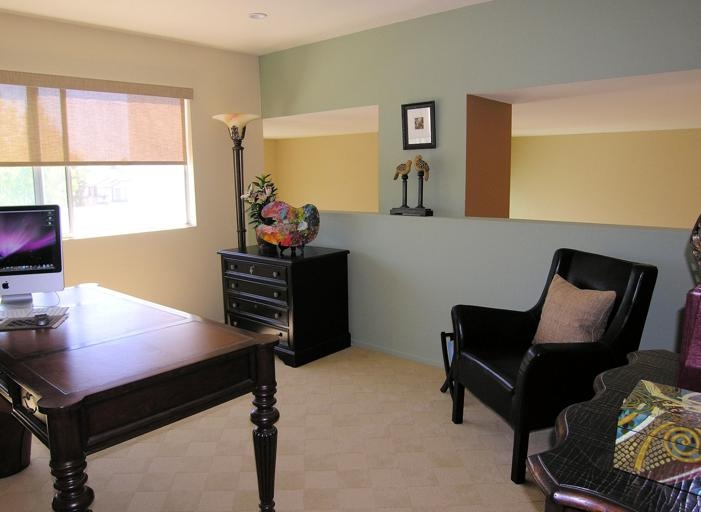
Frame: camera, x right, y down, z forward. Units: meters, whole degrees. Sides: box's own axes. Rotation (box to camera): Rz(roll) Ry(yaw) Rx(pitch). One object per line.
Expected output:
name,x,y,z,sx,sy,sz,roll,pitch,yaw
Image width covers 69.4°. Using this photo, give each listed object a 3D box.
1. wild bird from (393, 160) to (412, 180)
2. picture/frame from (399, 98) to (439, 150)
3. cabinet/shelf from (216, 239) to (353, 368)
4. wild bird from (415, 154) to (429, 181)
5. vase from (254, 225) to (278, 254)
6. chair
wild bird,0.446,-0.759,4.437,0.178,0.172,0.209,4,14,21
picture/frame,0.604,-1.141,4.320,0.435,0.508,0.037,5,9,39
cabinet/shelf,-0.605,0.387,4.650,0.971,0.908,0.740,6,11,37
wild bird,0.619,-0.754,4.325,0.125,0.220,0.175,1,13,9
vase,-0.763,-0.146,4.454,0.209,0.242,0.248,-1,5,-20
chair,1.145,0.571,3.043,0.926,1.083,0.929,-4,10,-25
